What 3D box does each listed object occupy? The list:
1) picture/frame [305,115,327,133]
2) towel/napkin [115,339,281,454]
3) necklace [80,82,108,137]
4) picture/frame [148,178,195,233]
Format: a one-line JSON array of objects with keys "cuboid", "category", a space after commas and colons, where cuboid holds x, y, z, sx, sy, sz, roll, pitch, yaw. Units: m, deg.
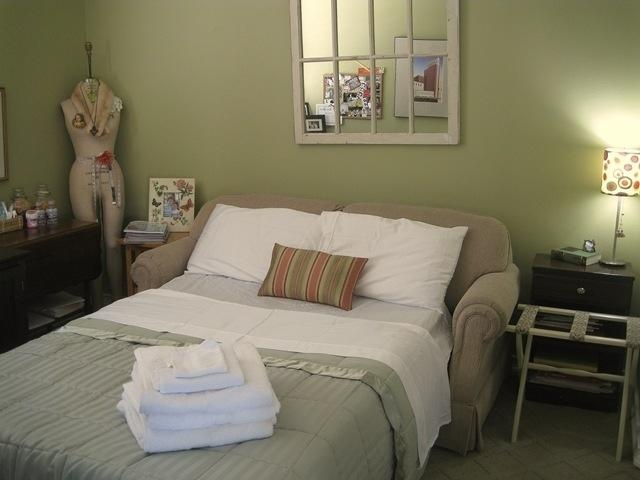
[{"cuboid": [-0.025, -0.832, 3.645, 0.112, 0.114, 0.043, 2, 9, 13], "category": "picture/frame"}, {"cuboid": [-0.453, 0.472, 1.910, 0.400, 0.187, 0.404, -4, 12, -19], "category": "towel/napkin"}, {"cuboid": [-1.718, -1.010, 3.925, 0.202, 0.388, 0.089, -2, 0, -16], "category": "necklace"}, {"cuboid": [-1.155, -0.267, 4.064, 0.419, 0.527, 0.020, 1, -4, 10], "category": "picture/frame"}]
